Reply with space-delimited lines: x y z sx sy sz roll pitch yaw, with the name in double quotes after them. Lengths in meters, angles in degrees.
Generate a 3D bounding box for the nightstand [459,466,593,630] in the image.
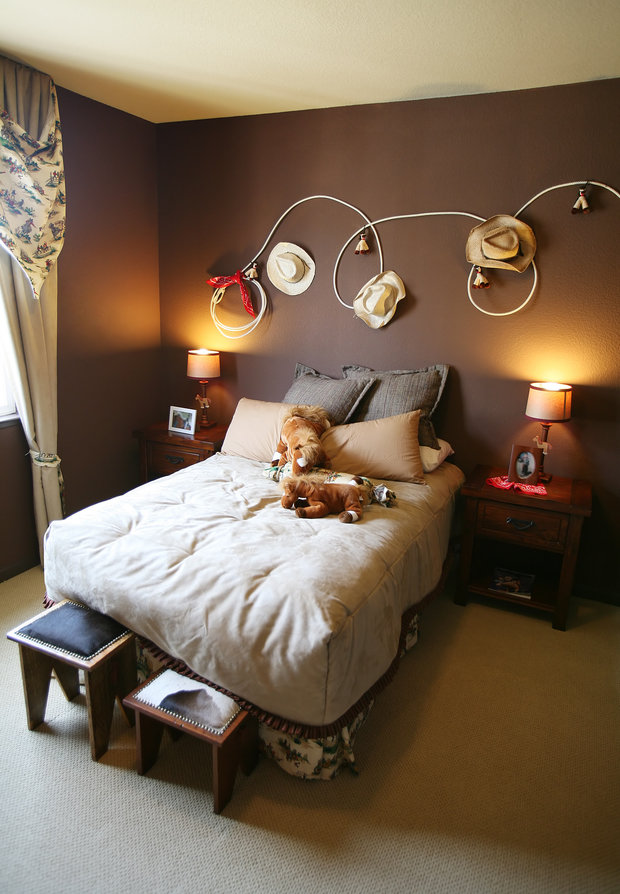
0.998 0.463 3.090 0.536 0.615 0.480 8 16 24 "nightstand"

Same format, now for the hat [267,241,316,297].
-0.135 -0.982 3.638 0.308 0.297 0.136 11 18 34 "hat"

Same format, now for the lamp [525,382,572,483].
1.092 -0.064 3.034 0.198 0.439 0.319 6 16 18 "lamp"

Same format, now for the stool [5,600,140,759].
-0.744 0.753 2.159 0.354 0.393 0.302 8 16 24 "stool"

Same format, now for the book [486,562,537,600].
0.947 0.634 3.059 0.147 0.036 0.145 8 19 28 "book"

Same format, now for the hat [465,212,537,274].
0.960 -0.885 3.208 0.122 0.382 0.451 42 17 9 "hat"

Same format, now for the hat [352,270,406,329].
0.356 -0.754 3.391 0.270 0.302 0.145 3 15 9 "hat"

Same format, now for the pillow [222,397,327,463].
-0.194 -0.004 3.438 0.497 0.317 0.123 2 -28 43 "pillow"

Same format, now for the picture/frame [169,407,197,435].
-0.753 -0.146 3.857 0.147 0.127 0.015 9 10 26 "picture/frame"

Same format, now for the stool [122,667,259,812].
-0.317 0.755 1.992 0.399 0.362 0.329 10 15 31 "stool"

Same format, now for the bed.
-0.014 0.360 2.464 1.093 0.852 1.550 12 20 31 "bed"

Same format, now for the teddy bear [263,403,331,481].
-0.054 -0.030 3.020 0.216 0.159 0.364 -7 37 15 "teddy bear"

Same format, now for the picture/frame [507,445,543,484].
0.978 0.088 2.986 0.155 0.217 0.023 6 -3 40 "picture/frame"

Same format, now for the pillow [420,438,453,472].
0.599 0.051 3.139 0.132 0.056 0.201 7 27 25 "pillow"
